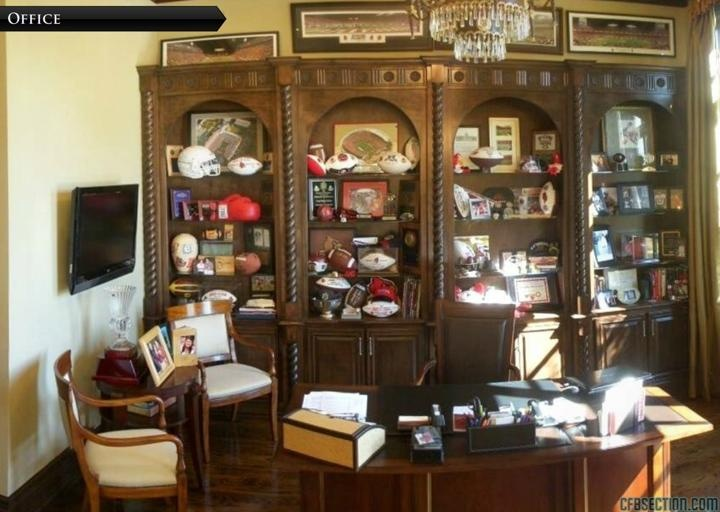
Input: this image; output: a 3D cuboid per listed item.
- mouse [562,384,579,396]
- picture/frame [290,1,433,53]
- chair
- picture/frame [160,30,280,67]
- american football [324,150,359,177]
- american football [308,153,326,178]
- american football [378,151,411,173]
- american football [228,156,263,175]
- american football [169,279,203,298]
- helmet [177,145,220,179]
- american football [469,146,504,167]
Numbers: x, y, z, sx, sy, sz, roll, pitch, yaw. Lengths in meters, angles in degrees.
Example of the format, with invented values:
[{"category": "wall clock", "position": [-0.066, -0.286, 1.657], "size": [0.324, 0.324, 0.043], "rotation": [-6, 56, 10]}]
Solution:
[{"category": "mouse", "position": [1.383, 0.875, 4.071], "size": [0.075, 0.035, 0.097], "rotation": [1, -2, 20]}, {"category": "picture/frame", "position": [-0.005, -2.073, 5.555], "size": [1.053, 0.373, 0.023], "rotation": [0, 5, 3]}, {"category": "chair", "position": [-1.525, 1.171, 4.787], "size": [0.682, 0.908, 1.508], "rotation": [0, 6, 13]}, {"category": "picture/frame", "position": [-1.324, -1.956, 5.823], "size": [1.139, 0.281, 0.044], "rotation": [0, 2, 5]}, {"category": "american football", "position": [-0.186, -0.881, 5.854], "size": [0.251, 0.136, 0.199], "rotation": [5, 16, 43]}, {"category": "american football", "position": [-0.410, -0.852, 5.875], "size": [0.136, 0.219, 0.147], "rotation": [-33, 2, -7]}, {"category": "american football", "position": [0.326, -0.885, 5.777], "size": [0.236, 0.140, 0.193], "rotation": [-3, 14, -23]}, {"category": "american football", "position": [-1.068, -0.859, 5.833], "size": [0.304, 0.185, 0.158], "rotation": [0, 22, -2]}, {"category": "american football", "position": [-1.681, 0.302, 5.992], "size": [0.320, 0.161, 0.210], "rotation": [-1, 3, -7]}, {"category": "helmet", "position": [-1.497, -0.898, 5.856], "size": [0.361, 0.238, 0.277], "rotation": [-11, 28, -27]}, {"category": "american football", "position": [1.206, -0.928, 5.824], "size": [0.215, 0.161, 0.213], "rotation": [-3, 6, -21]}]
